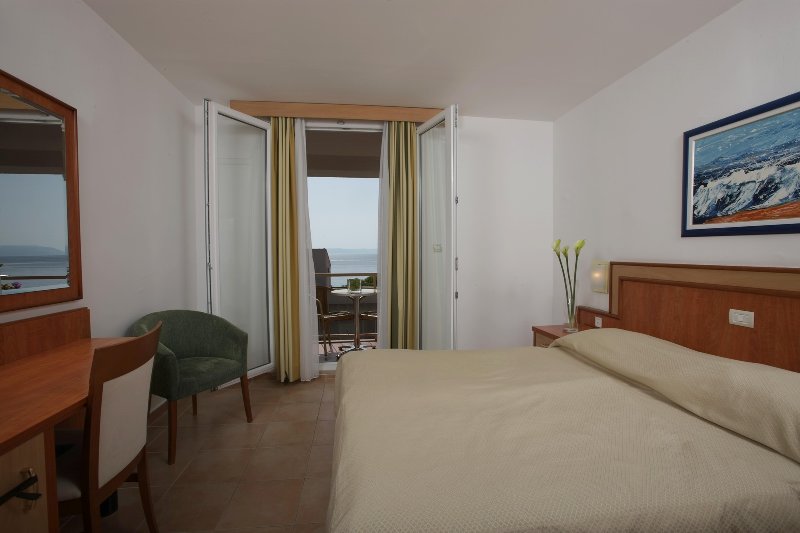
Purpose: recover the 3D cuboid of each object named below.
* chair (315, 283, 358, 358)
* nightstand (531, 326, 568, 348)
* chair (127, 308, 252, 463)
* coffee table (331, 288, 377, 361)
[{"bbox_3d":[-0.827,0.693,6.623,0.529,0.818,0.493,-4,-7,-9],"label":"chair"},{"bbox_3d":[1.427,0.745,4.745,0.216,0.300,0.304,-2,7,-17],"label":"nightstand"},{"bbox_3d":[-1.789,0.877,4.165,0.852,0.979,0.897,1,4,20],"label":"chair"},{"bbox_3d":[-0.570,0.718,6.596,0.563,0.782,0.578,1,-4,-8],"label":"coffee table"}]
